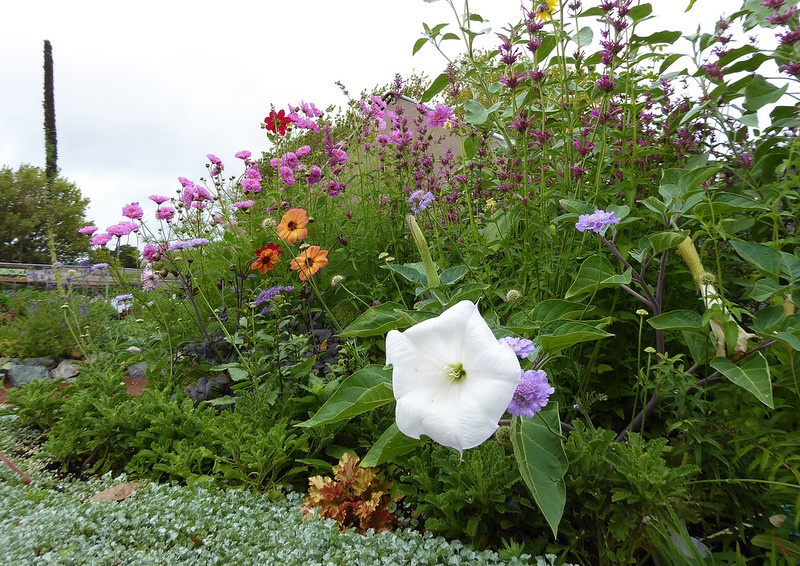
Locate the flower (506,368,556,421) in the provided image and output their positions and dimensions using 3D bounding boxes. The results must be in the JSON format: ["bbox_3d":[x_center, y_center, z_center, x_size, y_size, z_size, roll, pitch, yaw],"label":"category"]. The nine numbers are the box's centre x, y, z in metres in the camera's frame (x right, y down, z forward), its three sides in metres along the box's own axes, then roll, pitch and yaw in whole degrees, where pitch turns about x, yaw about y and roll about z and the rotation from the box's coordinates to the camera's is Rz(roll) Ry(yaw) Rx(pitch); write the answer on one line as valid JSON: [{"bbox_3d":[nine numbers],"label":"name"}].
[{"bbox_3d":[0.508,0.436,2.012,0.176,0.182,0.084,35,19,1],"label":"flower"}]
